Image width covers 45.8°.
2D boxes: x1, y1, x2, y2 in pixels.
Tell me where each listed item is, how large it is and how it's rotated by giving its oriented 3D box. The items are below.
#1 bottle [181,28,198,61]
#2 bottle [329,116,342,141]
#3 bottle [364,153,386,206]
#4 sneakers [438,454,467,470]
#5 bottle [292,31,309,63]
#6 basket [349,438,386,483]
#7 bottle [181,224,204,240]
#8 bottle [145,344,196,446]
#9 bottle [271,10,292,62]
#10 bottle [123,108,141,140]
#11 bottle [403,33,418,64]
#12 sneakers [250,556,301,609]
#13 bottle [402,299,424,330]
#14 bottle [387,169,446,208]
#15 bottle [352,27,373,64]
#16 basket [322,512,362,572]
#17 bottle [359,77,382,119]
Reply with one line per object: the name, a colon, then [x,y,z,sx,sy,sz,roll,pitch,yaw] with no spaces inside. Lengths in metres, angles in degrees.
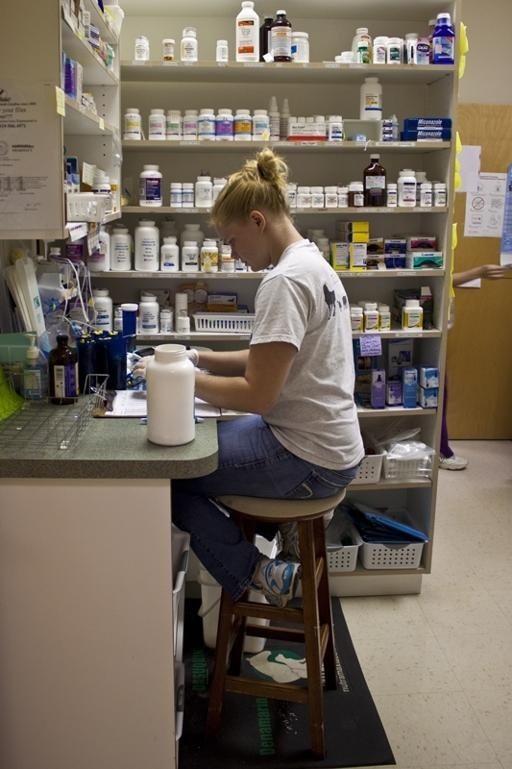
bottle: [-0.261,-1.305,2.329,0.054,0.137,0.075,0,7,4]
bottle: [0.321,-1.021,2.451,0.061,0.115,0.165,1,8,7]
bottle: [0.481,-0.833,2.479,0.092,0.212,0.083,1,7,10]
sneakers: [1.319,0.516,4.088,0.188,0.088,0.075,-1,9,14]
bottle: [0.168,-1.308,2.357,0.057,0.119,0.058,0,7,0]
basket: [0.497,0.343,2.725,0.136,0.137,0.208,-1,3,2]
bottle: [-0.271,-0.645,2.595,0.079,0.077,0.078,-12,21,-43]
bottle: [-0.169,0.024,1.195,0.091,0.202,0.088,0,7,0]
bottle: [0.095,-1.318,2.300,0.076,0.189,0.063,0,7,-2]
bottle: [-0.489,-1.037,2.407,0.061,0.133,0.072,-2,8,-14]
bottle: [0.604,-1.311,2.373,0.048,0.136,0.073,0,7,5]
sneakers: [0.058,0.493,1.634,0.132,0.130,0.107,26,25,-8]
bottle: [0.673,-0.303,2.624,0.088,0.126,0.126,2,8,14]
bottle: [0.652,-0.801,2.480,0.248,0.176,0.141,-3,16,-5]
bottle: [0.413,-1.326,2.374,0.073,0.168,0.104,1,7,8]
basket: [0.377,0.690,2.693,0.150,0.086,0.214,0,12,5]
bottle: [0.471,-1.167,2.505,0.081,0.168,0.130,0,7,6]
